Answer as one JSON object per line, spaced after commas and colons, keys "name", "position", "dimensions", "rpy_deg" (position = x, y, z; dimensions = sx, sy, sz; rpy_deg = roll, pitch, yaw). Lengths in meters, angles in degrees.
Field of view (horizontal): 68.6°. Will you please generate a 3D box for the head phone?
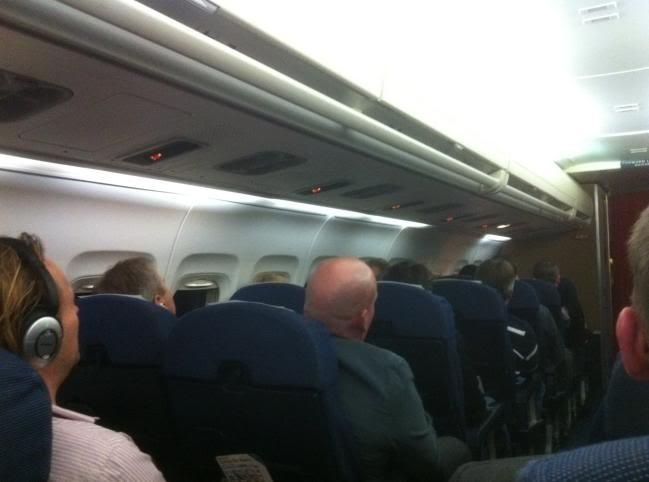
{"name": "head phone", "position": [-0.912, 0.197, 1.479], "dimensions": [0.118, 0.292, 0.315], "rpy_deg": [-4, -32, -31]}
